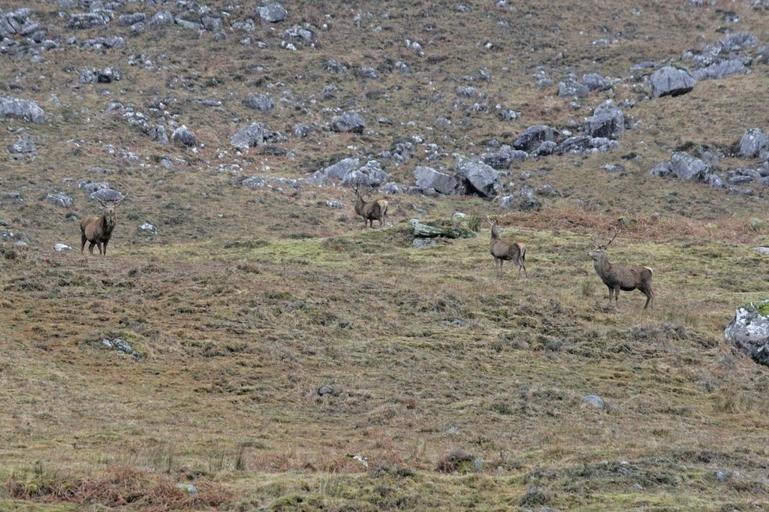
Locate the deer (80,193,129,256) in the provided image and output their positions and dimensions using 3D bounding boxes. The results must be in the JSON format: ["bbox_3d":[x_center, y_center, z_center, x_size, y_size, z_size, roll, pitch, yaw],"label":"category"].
[{"bbox_3d":[-23.033,-2.107,120.533,2.413,4.720,6.654,1,-10,-40],"label":"deer"}]

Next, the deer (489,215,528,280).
[{"bbox_3d":[10.091,-0.725,122.442,2.543,4.868,3.264,2,1,-10],"label":"deer"}]

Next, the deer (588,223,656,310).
[{"bbox_3d":[17.871,1.166,118.454,5.450,5.815,2.691,5,-7,-21],"label":"deer"}]
